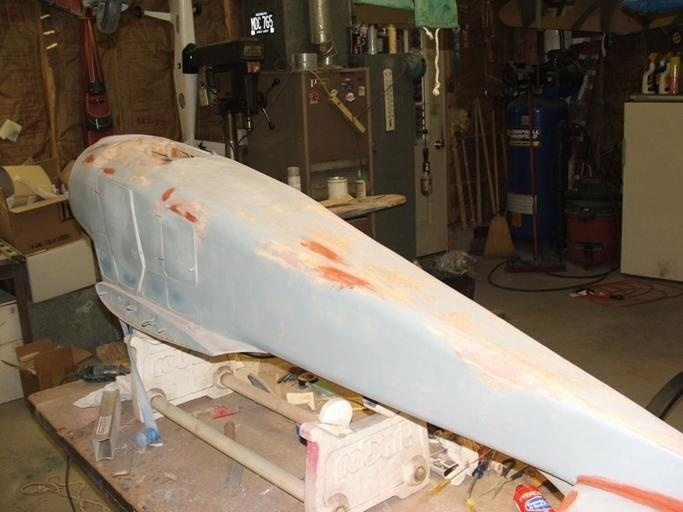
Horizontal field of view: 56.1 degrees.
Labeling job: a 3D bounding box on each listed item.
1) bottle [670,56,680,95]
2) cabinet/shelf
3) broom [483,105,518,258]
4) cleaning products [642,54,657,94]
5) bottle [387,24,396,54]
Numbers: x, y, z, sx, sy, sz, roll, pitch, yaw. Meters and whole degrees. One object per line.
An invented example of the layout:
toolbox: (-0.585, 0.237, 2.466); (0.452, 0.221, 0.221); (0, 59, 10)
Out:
bottle: (2.841, -1.556, 5.449); (0.104, 0.314, 0.256); (7, 21, 26)
cabinet/shelf: (-0.248, -1.010, 5.222); (1.013, 1.016, 0.574); (-4, 18, -6)
broom: (1.634, -0.725, 6.726); (0.302, 1.630, 0.074); (-1, 15, 22)
cleaning products: (2.780, -1.650, 5.741); (0.072, 0.367, 0.123); (-21, 25, -39)
bottle: (0.502, -2.131, 6.220); (0.068, 0.248, 0.175); (10, 22, 31)
